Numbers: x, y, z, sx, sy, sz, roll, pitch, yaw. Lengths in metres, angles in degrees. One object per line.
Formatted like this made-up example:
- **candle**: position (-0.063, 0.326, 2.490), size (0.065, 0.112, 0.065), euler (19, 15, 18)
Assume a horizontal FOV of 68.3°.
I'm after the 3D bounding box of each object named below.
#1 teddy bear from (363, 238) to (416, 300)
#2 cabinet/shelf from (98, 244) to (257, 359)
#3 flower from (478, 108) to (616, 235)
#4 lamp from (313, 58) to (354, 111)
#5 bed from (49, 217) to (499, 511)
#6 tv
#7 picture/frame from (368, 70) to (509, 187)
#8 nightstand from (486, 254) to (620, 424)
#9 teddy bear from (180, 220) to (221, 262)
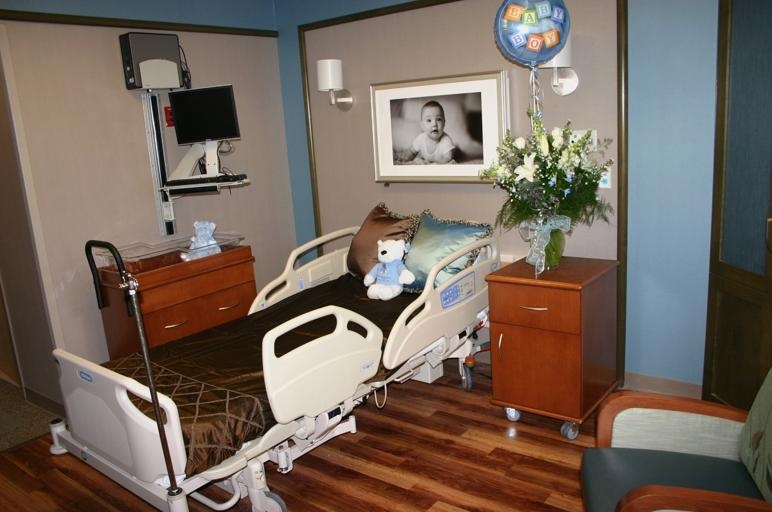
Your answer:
- **teddy bear**: position (0.028, 0.062, 4.205), size (0.446, 0.468, 0.384), euler (5, 7, 45)
- **cabinet/shelf**: position (-1.622, 0.372, 4.553), size (0.601, 0.775, 1.065), euler (8, 16, 33)
- **flower**: position (1.138, -0.534, 3.710), size (0.836, 0.849, 0.632), euler (-16, 19, -35)
- **lamp**: position (-0.429, -1.411, 4.722), size (0.271, 0.415, 0.378), euler (-1, 16, 12)
- **bed**: position (-0.361, 0.462, 3.780), size (1.455, 1.213, 2.841), euler (9, 17, 39)
- **tv**: position (-1.382, -0.935, 4.311), size (0.548, 0.653, 0.197), euler (3, 17, 24)
- **picture/frame**: position (0.447, -1.011, 4.395), size (1.026, 0.725, 0.039), euler (2, 8, 31)
- **nightstand**: position (1.168, 0.527, 3.940), size (0.676, 0.921, 0.757), euler (4, 16, 37)
- **teddy bear**: position (-1.447, -0.091, 4.547), size (0.309, 0.357, 0.191), euler (-4, -21, 5)
